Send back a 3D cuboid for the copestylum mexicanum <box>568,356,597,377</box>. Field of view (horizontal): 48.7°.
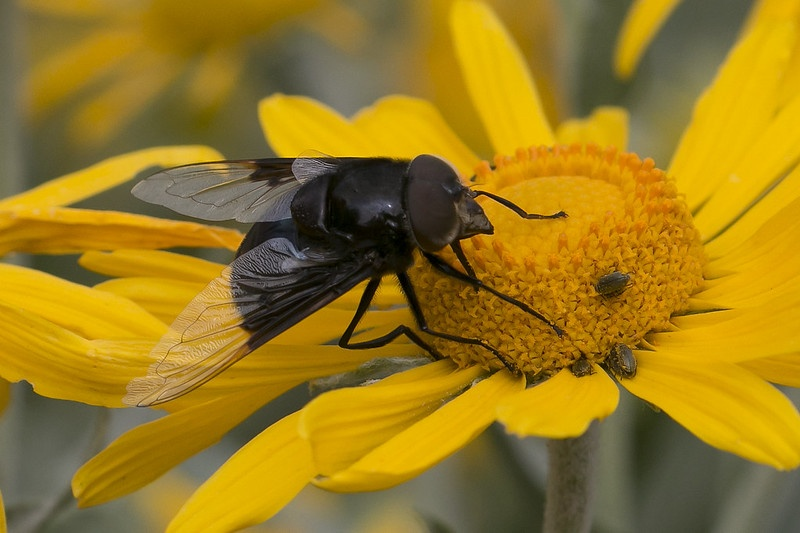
[{"bbox_3d":[0.401,0.223,1.958,0.052,0.024,0.062,-12,45,0],"label":"copestylum mexicanum"}]

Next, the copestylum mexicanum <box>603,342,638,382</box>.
[{"bbox_3d":[0.483,0.210,1.957,0.055,0.024,0.073,-15,69,-24],"label":"copestylum mexicanum"}]

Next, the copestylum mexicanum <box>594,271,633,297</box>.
[{"bbox_3d":[0.479,0.039,1.986,0.086,0.048,0.036,-12,46,1],"label":"copestylum mexicanum"}]
